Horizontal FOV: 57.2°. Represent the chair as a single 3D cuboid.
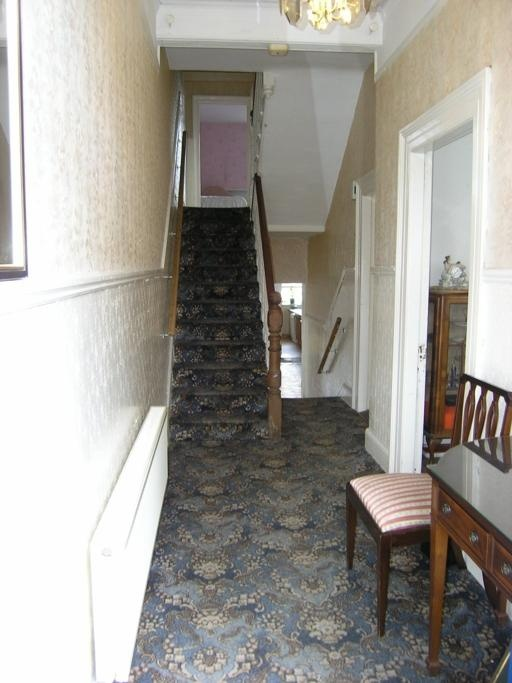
[{"bbox_3d":[0.707,0.543,2.412,0.648,1.635,0.773,0,7,-6],"label":"chair"}]
